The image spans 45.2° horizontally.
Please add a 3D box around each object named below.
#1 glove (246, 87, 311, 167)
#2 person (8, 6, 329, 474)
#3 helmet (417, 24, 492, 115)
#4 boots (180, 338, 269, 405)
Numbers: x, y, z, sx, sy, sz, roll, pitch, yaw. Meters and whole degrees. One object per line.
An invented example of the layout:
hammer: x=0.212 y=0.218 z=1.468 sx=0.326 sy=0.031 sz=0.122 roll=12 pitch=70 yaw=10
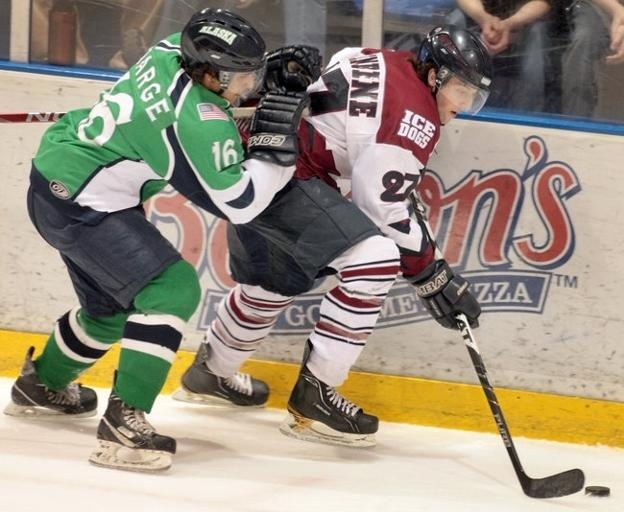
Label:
glove: x=-0.075 y=-0.469 z=2.796 sx=0.265 sy=0.263 sz=0.116 roll=16 pitch=-2 yaw=30
person: x=-0.641 y=-0.074 z=2.844 sx=1.002 sy=1.709 sz=0.464 roll=12 pitch=11 yaw=23
helmet: x=0.579 y=-0.766 z=3.044 sx=0.303 sy=0.346 sz=0.160 roll=8 pitch=10 yaw=3
boots: x=-0.431 y=0.531 z=3.602 sx=0.668 sy=0.347 sz=0.171 roll=2 pitch=45 yaw=-13
